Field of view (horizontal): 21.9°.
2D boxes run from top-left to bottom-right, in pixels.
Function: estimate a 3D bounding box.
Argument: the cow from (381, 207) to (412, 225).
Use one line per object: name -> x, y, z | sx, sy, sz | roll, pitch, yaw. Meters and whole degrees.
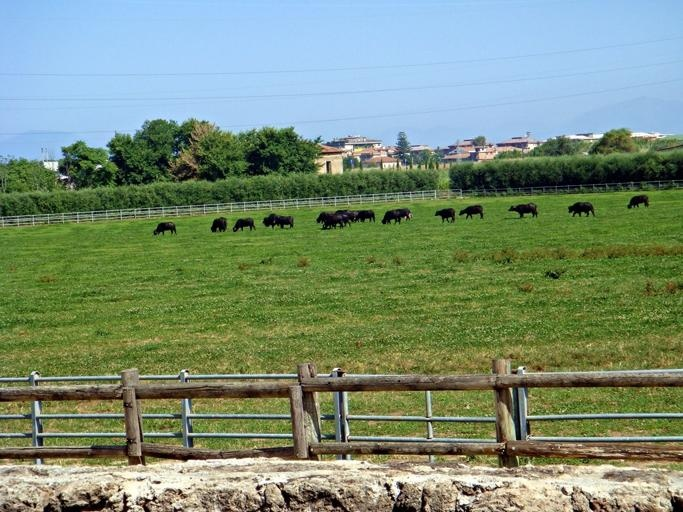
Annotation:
cow -> 3.728, -2.740, 120.582 | 1.674, 0.915, 2.626 | -3, 5, 10
